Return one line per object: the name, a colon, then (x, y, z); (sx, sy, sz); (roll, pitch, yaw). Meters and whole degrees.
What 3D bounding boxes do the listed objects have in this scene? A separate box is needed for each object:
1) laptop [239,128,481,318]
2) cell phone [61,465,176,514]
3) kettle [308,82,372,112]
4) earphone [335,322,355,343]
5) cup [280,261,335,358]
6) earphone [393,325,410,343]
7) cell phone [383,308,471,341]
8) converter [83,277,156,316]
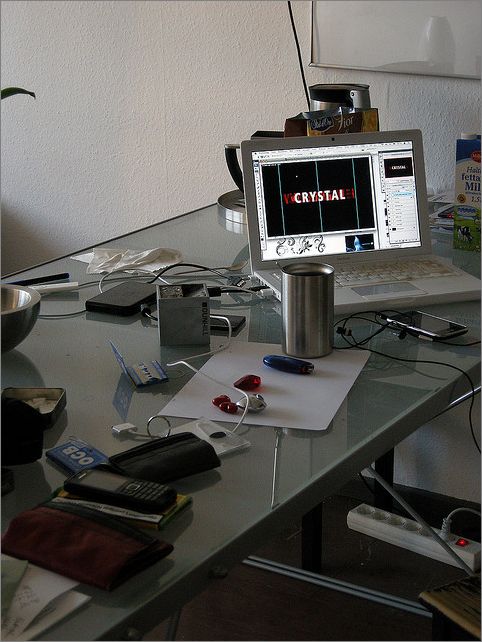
laptop: (0.182, -0.199, 1.201); (0.679, 0.513, 0.270); (-7, 26, -9)
cell phone: (-0.094, 0.129, 0.449); (0.101, 0.033, 0.046); (4, 13, 23)
kettle: (0.246, -0.583, 1.471); (0.132, 0.117, 0.166); (-18, 27, -38)
earphone: (0.162, 0.018, 0.848); (0.011, 0.026, 0.019); (-47, 14, 4)
cup: (0.101, -0.016, 0.802); (0.083, 0.130, 0.074); (3, 18, 13)
earphone: (0.250, 0.022, 0.843); (0.015, 0.014, 0.026); (-30, 24, -19)
cell phone: (0.299, 0.008, 0.867); (0.064, 0.013, 0.105); (-18, 27, -39)
converter: (-0.224, -0.042, 0.993); (0.094, 0.026, 0.112); (9, 30, 18)
